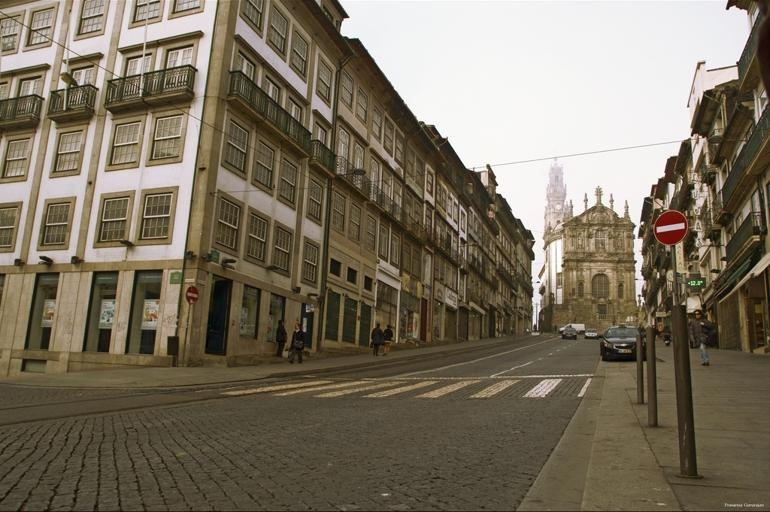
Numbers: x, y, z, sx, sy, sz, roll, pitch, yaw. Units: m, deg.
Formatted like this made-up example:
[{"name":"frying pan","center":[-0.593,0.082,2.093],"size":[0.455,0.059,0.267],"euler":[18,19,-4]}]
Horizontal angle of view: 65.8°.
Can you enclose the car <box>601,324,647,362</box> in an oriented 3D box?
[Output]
[{"name":"car","center":[10.964,4.016,27.391],"size":[1.612,1.556,2.187],"euler":[-10,-14,35]}]

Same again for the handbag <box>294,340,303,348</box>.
[{"name":"handbag","center":[-3.905,3.985,26.841],"size":[0.331,0.321,0.319],"euler":[2,2,16]}]

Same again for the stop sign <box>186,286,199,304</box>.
[{"name":"stop sign","center":[-7.701,1.555,23.629],"size":[0.163,0.993,0.748],"euler":[-5,-4,33]}]

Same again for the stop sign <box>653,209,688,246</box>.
[{"name":"stop sign","center":[5.476,-0.562,11.373],"size":[0.569,0.763,0.751],"euler":[-7,-12,24]}]

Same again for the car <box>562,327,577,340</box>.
[{"name":"car","center":[21.231,8.895,67.829],"size":[1.132,0.955,2.039],"euler":[1,1,16]}]

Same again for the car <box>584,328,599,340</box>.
[{"name":"car","center":[24.484,9.443,70.259],"size":[1.266,0.951,2.855],"euler":[1,1,16]}]
